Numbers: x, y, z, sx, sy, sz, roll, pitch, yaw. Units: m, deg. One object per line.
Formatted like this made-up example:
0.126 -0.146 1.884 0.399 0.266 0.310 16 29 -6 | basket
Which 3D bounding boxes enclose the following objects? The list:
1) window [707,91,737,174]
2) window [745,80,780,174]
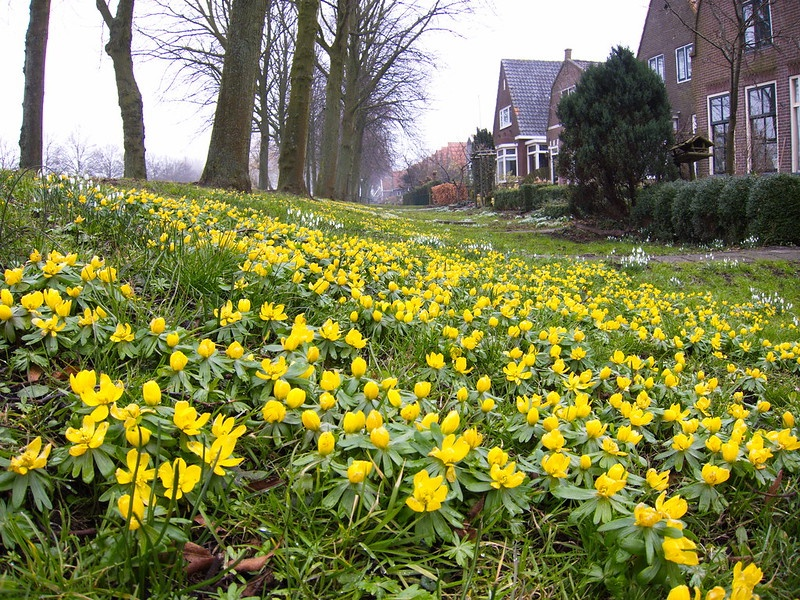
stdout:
11.510 -5.967 22.829 0.799 2.788 0.093 -4 4 -8 | window
11.798 -5.555 20.657 0.830 2.910 0.154 -3 -9 30 | window
